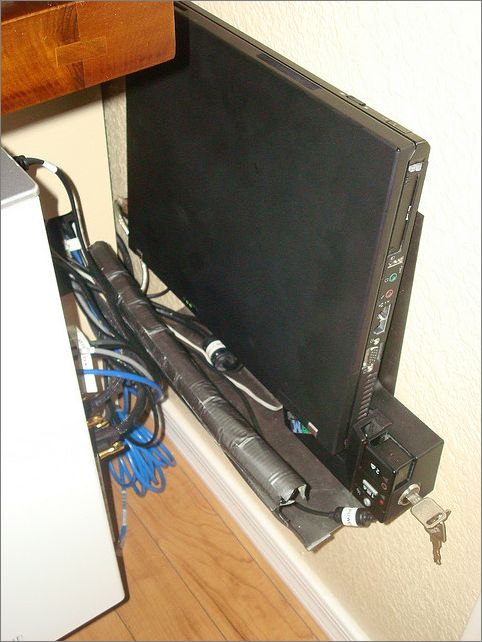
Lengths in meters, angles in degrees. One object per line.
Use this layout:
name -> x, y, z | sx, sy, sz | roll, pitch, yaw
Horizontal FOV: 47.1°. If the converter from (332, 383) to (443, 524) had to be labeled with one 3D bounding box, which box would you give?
converter -> 0.153, 0.137, 0.624 | 0.067, 0.117, 0.125 | -22, 45, -18
